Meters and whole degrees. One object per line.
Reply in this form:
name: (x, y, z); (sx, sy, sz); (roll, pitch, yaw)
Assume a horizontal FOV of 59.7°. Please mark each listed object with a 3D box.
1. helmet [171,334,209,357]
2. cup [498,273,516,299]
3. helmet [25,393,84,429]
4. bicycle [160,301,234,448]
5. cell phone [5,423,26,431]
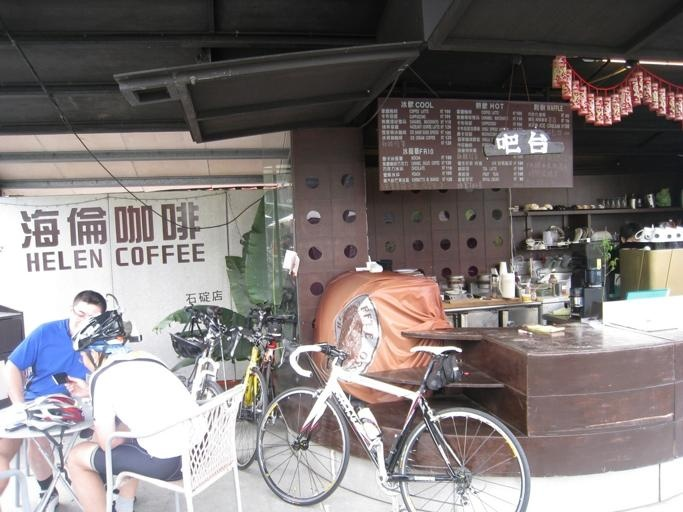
helmet: (-1.491, 0.894, 5.877); (0.349, 0.176, 0.294); (2, -3, 34)
cup: (1.955, 0.348, 7.056); (0.188, 0.276, 0.200); (-3, -1, 0)
helmet: (-2.155, 1.156, 4.465); (0.302, 0.183, 0.227); (3, -6, -3)
bicycle: (-1.411, 1.026, 6.304); (0.726, 0.880, 1.462); (25, -11, -17)
cell phone: (-2.409, 1.261, 4.383); (0.115, 0.028, 0.065); (-3, -2, -20)
